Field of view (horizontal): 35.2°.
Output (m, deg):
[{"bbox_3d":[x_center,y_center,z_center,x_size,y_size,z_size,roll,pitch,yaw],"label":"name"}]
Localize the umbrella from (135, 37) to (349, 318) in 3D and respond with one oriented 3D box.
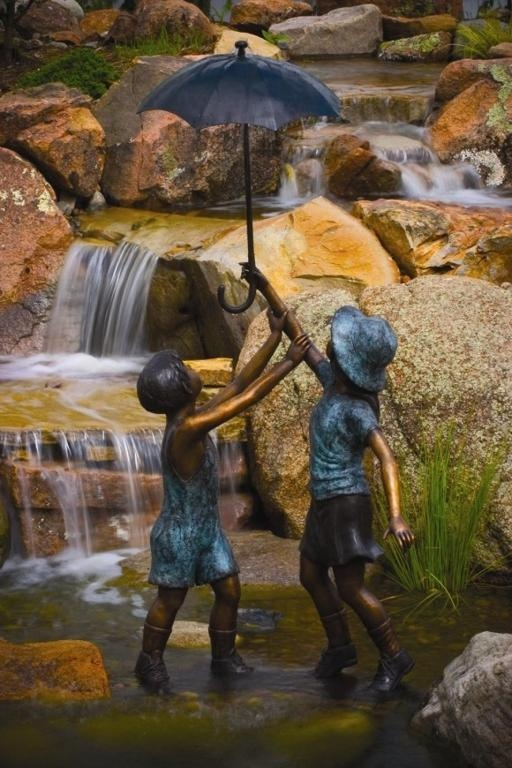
[{"bbox_3d":[-0.032,-0.826,3.284,0.937,0.978,0.856,1,11,9],"label":"umbrella"}]
